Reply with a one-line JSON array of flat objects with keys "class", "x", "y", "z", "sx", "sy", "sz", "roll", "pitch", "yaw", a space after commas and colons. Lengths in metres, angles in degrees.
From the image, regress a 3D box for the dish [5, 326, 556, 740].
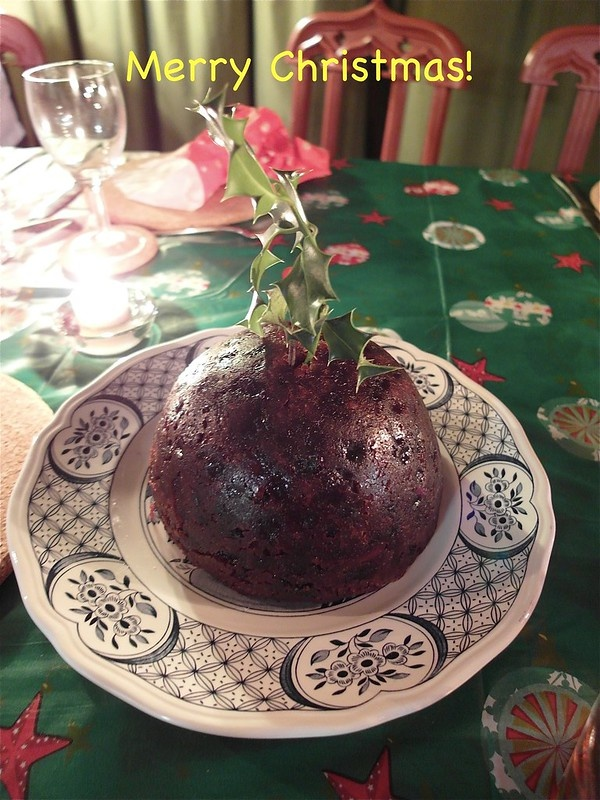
[{"class": "dish", "x": -0.017, "y": 0.078, "z": 0.641, "sx": 0.452, "sy": 0.091, "sz": 0.441, "roll": 11, "pitch": 36, "yaw": 13}]
